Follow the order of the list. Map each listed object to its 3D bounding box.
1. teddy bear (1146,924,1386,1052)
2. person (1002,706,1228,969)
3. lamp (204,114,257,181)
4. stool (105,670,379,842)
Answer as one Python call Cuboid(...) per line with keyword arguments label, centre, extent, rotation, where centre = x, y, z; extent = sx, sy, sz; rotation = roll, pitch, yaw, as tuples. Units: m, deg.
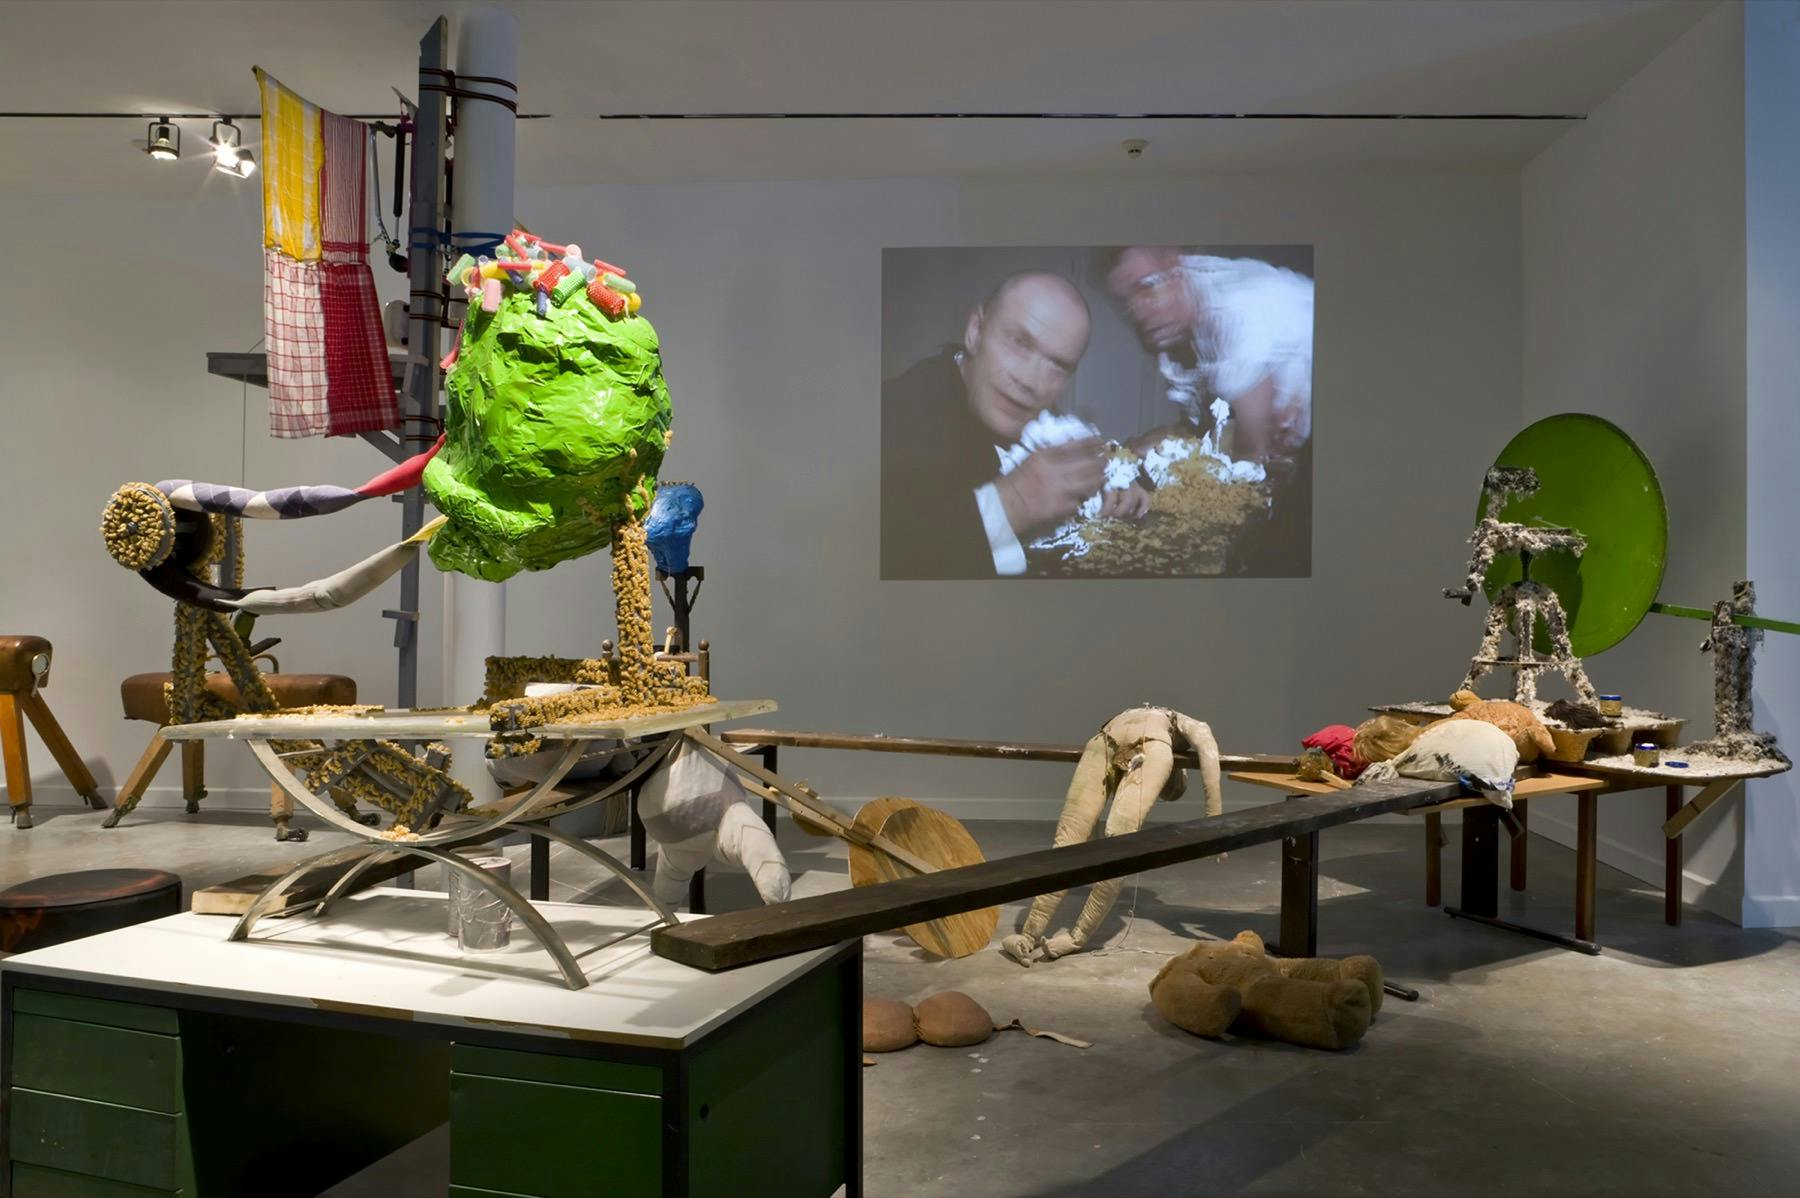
Cuboid(label="teddy bear", centre=(1.542, 1.663, 6.921), extent=(0.987, 0.335, 0.423), rotation=(-1, 3, 10))
Cuboid(label="person", centre=(0.948, 1.071, 7.502), extent=(0.860, 1.134, 1.204), rotation=(-4, 4, -41))
Cuboid(label="lamp", centre=(-4.006, -2.701, 9.851), extent=(0.215, 0.392, 0.368), rotation=(2, 2, -15))
Cuboid(label="stool", centre=(-3.221, 0.799, 8.054), extent=(0.972, 0.797, 0.759), rotation=(-1, -4, 8))
